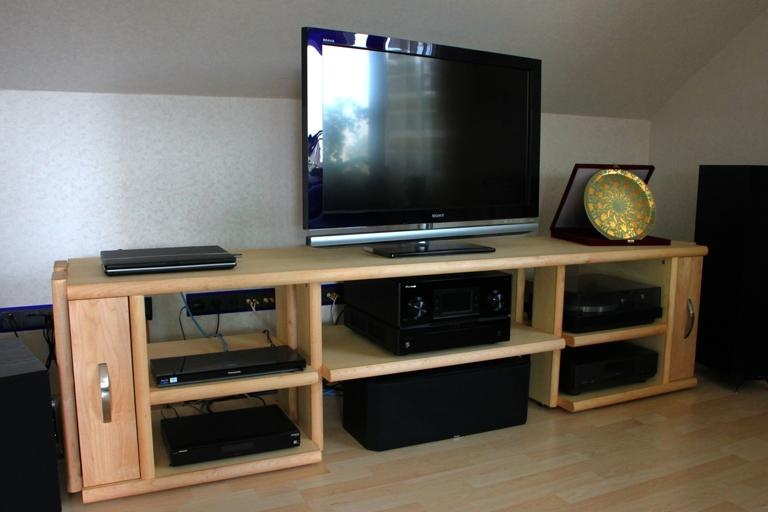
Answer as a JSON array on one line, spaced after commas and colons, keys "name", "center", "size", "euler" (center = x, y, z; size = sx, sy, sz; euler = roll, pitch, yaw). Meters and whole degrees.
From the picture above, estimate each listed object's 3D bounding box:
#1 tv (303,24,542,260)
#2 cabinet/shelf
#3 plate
[{"name": "tv", "center": [0.138, -0.493, 2.644], "size": [1.210, 0.766, 0.111], "euler": [-3, 6, -23]}, {"name": "cabinet/shelf", "center": [0.104, 0.329, 2.792], "size": [2.888, 0.848, 0.706], "euler": [-6, 11, -19]}, {"name": "plate", "center": [1.137, -0.246, 2.925], "size": [0.347, 0.349, 0.145], "euler": [-8, 12, -25]}]
